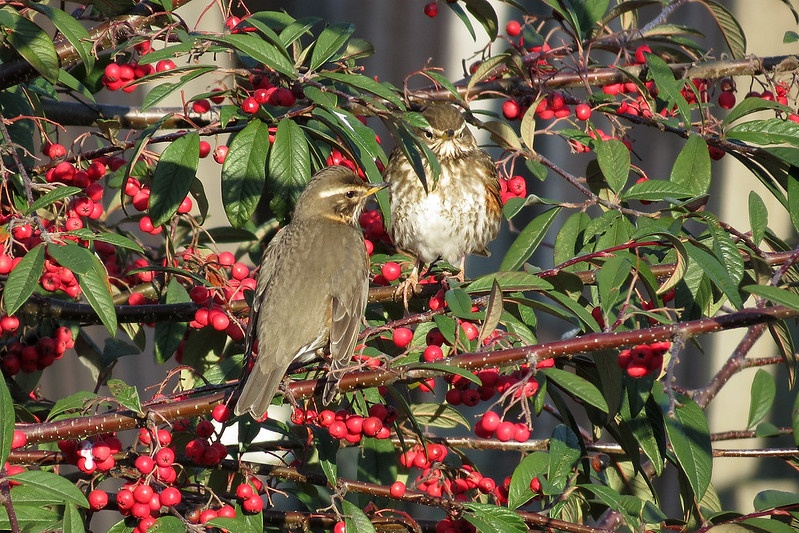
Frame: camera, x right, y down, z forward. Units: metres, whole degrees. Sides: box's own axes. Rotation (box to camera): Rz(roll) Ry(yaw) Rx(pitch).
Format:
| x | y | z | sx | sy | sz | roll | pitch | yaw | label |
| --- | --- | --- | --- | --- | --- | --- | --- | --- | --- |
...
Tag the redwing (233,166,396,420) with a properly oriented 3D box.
| x | y | z | sx | sy | sz | roll | pitch | yaw | label |
| --- | --- | --- | --- | --- | --- | --- | --- | --- | --- |
| -0.575 | 0.202 | 9.108 | 0.641 | 1.616 | 1.327 | 12 | -41 | 36 | redwing |
